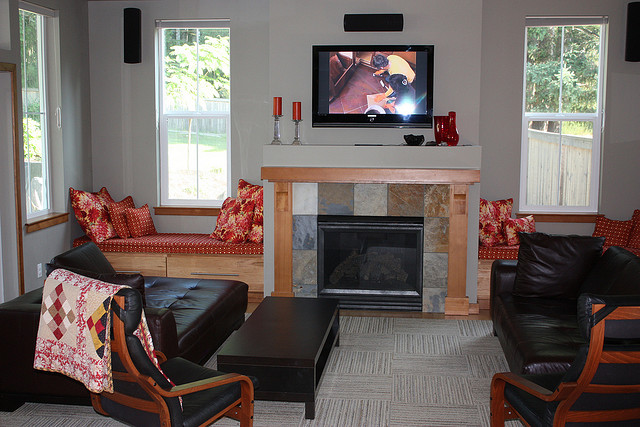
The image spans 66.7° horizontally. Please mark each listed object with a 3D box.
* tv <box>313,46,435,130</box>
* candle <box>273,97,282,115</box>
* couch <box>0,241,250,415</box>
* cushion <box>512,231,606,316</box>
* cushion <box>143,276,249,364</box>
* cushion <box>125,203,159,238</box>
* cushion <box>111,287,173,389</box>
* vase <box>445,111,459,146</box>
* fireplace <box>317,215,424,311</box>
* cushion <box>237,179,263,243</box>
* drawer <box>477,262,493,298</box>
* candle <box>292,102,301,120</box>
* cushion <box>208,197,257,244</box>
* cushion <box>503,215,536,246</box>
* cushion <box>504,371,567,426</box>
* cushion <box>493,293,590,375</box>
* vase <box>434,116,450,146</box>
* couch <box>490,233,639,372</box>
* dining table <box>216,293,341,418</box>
[{"bbox_3d":[0.620,-1.401,5.266,0.934,0.612,0.038,1,3,4],"label":"tv"},{"bbox_3d":[-0.447,-1.147,5.185,0.088,0.176,0.091,0,14,-2],"label":"candle"},{"bbox_3d":[-1.520,0.865,3.823,1.294,0.865,1.823,3,7,5],"label":"couch"},{"bbox_3d":[2.017,0.519,4.094,0.634,0.621,0.228,3,-3,9],"label":"cushion"},{"bbox_3d":[-1.157,0.822,4.246,0.653,0.459,0.916,3,6,13],"label":"cushion"},{"bbox_3d":[-2.272,0.098,6.206,0.118,0.354,0.378,-14,1,25],"label":"cushion"},{"bbox_3d":[-0.974,0.693,2.677,0.315,0.549,0.109,8,16,28],"label":"cushion"},{"bbox_3d":[1.378,-0.870,4.995,0.124,0.336,0.139,-6,16,-24],"label":"vase"},{"bbox_3d":[0.593,0.505,5.234,1.052,0.884,0.372,0,1,5],"label":"fireplace"},{"bbox_3d":[-0.779,-0.007,5.873,0.187,0.579,0.614,6,6,-39],"label":"cushion"},{"bbox_3d":[1.867,0.756,5.547,0.141,0.390,0.370,5,15,17],"label":"drawer"},{"bbox_3d":[-0.236,-1.085,5.148,0.072,0.174,0.062,2,14,8],"label":"candle"},{"bbox_3d":[-0.998,0.073,5.880,0.560,0.530,0.170,3,-14,42],"label":"cushion"},{"bbox_3d":[2.446,0.212,5.969,0.547,0.353,0.190,-4,18,-29],"label":"cushion"},{"bbox_3d":[1.326,1.106,2.961,0.293,0.249,0.275,-1,9,-15],"label":"cushion"},{"bbox_3d":[1.683,0.907,3.650,0.415,0.387,0.926,1,10,16],"label":"cushion"},{"bbox_3d":[1.268,-0.884,5.032,0.239,0.370,0.236,1,11,17],"label":"vase"},{"bbox_3d":[1.822,0.671,3.647,0.505,0.611,1.000,3,18,15],"label":"couch"},{"bbox_3d":[-0.266,1.105,4.046,0.809,0.375,1.318,-2,9,5],"label":"dining table"}]
